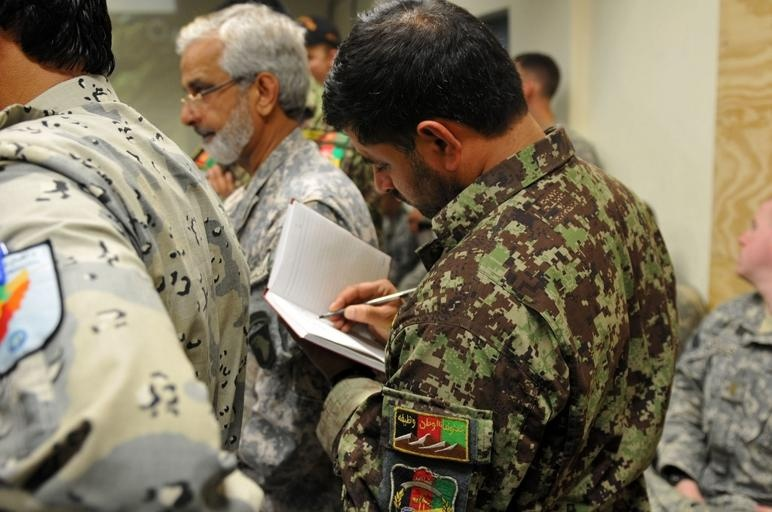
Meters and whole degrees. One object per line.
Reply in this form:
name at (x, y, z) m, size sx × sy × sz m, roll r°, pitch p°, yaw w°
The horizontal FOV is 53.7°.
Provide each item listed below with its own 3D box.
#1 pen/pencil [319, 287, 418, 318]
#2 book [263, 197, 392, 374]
pen/pencil at (-0.055, 0.125, 2.040) m, size 0.196 × 0.022 × 0.022 m, roll -22°, pitch -31°, yaw -5°
book at (-0.182, 0.064, 2.088) m, size 0.142 × 0.430 × 0.412 m, roll -14°, pitch -33°, yaw 38°
